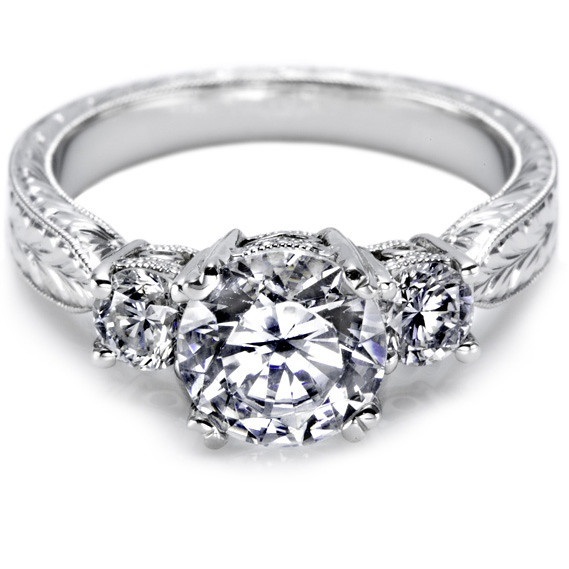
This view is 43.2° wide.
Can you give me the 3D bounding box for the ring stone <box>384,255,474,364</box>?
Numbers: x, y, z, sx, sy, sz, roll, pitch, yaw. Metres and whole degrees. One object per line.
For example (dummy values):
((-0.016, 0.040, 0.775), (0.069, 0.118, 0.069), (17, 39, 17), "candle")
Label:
((0.214, 0.039, 1.316), (0.214, 0.089, 0.170), (18, -90, -18), "ring stone")
